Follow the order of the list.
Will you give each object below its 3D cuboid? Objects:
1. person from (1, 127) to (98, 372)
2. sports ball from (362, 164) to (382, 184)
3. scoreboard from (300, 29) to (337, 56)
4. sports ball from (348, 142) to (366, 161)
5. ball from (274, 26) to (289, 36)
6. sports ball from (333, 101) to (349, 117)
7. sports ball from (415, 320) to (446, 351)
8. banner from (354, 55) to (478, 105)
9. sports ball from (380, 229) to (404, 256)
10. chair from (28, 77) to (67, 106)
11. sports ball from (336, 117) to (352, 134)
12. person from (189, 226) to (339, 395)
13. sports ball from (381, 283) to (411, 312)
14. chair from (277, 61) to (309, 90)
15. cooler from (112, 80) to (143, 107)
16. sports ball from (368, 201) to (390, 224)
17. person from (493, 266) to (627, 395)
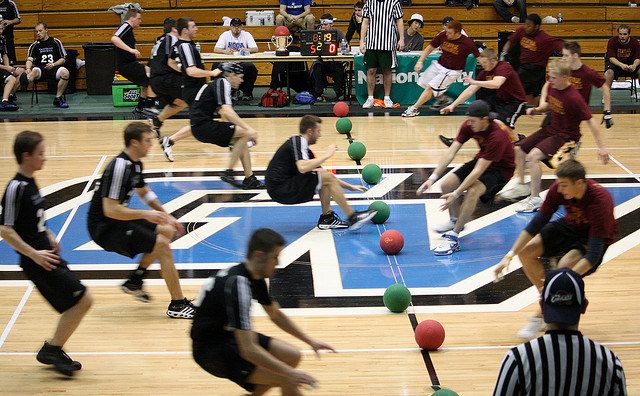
[{"bbox_3d":[-2.724,0.552,6.198,0.820,2.342,0.481,12,18,34],"label":"person"},{"bbox_3d":[0.815,-0.375,10.010,0.347,0.271,0.289,-7,8,2],"label":"sports ball"},{"bbox_3d":[-0.014,-3.545,14.544,1.046,0.587,0.116,10,19,34],"label":"scoreboard"},{"bbox_3d":[0.651,-0.816,11.076,0.339,0.265,0.316,3,6,0],"label":"sports ball"},{"bbox_3d":[-0.928,-3.951,15.067,0.362,0.165,0.311,4,21,12],"label":"ball"},{"bbox_3d":[0.519,-1.927,13.782,0.369,0.294,0.313,0,-37,24],"label":"sports ball"},{"bbox_3d":[1.126,1.401,6.480,0.348,0.261,0.317,-2,-7,0],"label":"sports ball"},{"bbox_3d":[2.159,-2.754,14.819,2.760,1.202,0.807,2,14,1],"label":"banner"},{"bbox_3d":[0.893,0.571,8.239,0.356,0.317,0.298,-6,27,5],"label":"sports ball"},{"bbox_3d":[-6.729,-2.613,15.692,1.151,0.831,0.800,-3,4,-17],"label":"chair"},{"bbox_3d":[0.472,-1.423,12.527,0.318,0.279,0.286,-7,-4,-19],"label":"sports ball"},{"bbox_3d":[-0.586,1.033,5.464,1.091,1.554,0.578,2,15,1],"label":"person"},{"bbox_3d":[0.864,1.113,7.188,0.337,0.276,0.346,0,2,0],"label":"sports ball"},{"bbox_3d":[-0.589,-3.093,15.856,0.932,0.623,1.086,1,-19,-4],"label":"chair"},{"bbox_3d":[-4.639,-2.492,15.421,0.961,0.521,0.814,-1,11,-10],"label":"cooler"},{"bbox_3d":[0.884,0.206,8.929,0.339,0.262,0.326,6,-30,3],"label":"sports ball"},{"bbox_3d":[1.918,1.074,4.956,0.977,0.956,0.458,4,14,10],"label":"person"}]
